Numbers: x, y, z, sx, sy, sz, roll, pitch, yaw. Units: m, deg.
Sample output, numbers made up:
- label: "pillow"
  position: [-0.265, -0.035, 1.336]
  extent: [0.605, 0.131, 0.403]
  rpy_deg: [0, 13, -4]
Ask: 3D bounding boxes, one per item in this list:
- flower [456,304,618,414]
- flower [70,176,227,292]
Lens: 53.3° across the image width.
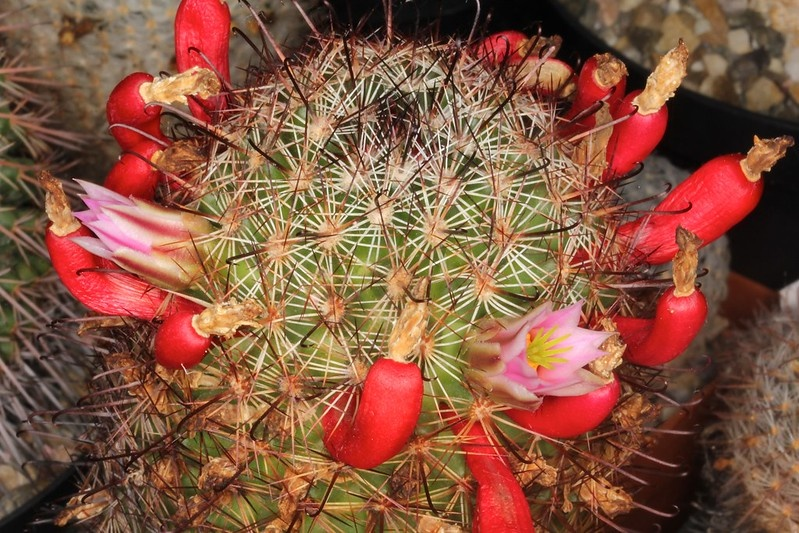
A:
- label: "flower"
  position: [0.226, 0.134, 1.323]
  extent: [0.201, 0.114, 0.169]
  rpy_deg: [-16, 104, -19]
- label: "flower"
  position: [-0.427, -0.044, 1.321]
  extent: [0.210, 0.117, 0.137]
  rpy_deg: [10, 77, 0]
